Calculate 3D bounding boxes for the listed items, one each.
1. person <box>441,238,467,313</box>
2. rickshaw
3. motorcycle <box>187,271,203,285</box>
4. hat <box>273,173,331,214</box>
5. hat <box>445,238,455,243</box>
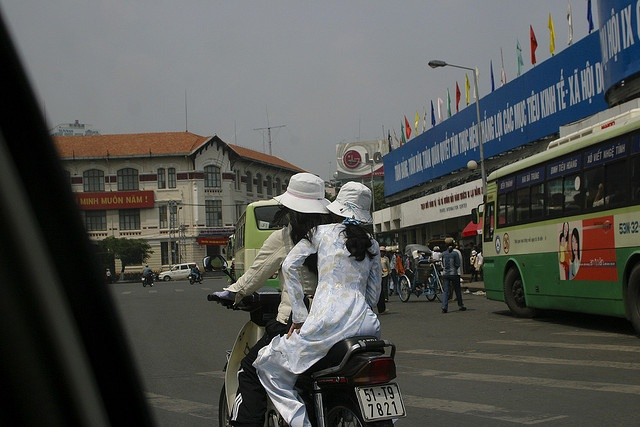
[{"bbox_3d":[3.241,1.482,18.459,0.593,1.740,0.709,0,0,3],"label":"person"},{"bbox_3d":[3.105,1.915,22.749,1.175,1.939,2.631,-1,-2,-6],"label":"rickshaw"},{"bbox_3d":[-8.057,4.144,48.708,0.794,1.001,1.548,-2,-1,5],"label":"motorcycle"},{"bbox_3d":[-0.138,-0.165,6.096,0.439,0.255,0.431,1,10,-4],"label":"hat"},{"bbox_3d":[3.126,0.635,18.104,0.176,0.136,0.135,10,-6,-23],"label":"hat"}]
